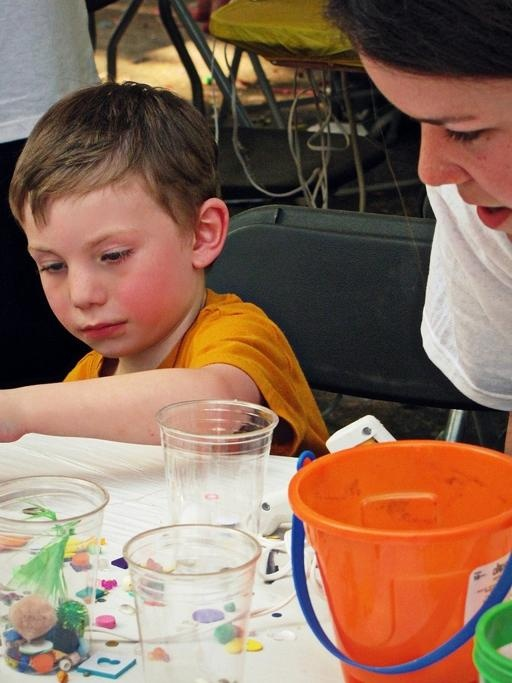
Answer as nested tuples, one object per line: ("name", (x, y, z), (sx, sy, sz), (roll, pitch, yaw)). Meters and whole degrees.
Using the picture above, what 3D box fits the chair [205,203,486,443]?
("chair", (0.175, -0.082, 1.313), (0.401, 0.481, 0.385), (11, 49, 11))

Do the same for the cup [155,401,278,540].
("cup", (-0.036, 0.118, 0.578), (0.097, 0.109, 0.089), (6, 8, -1))
